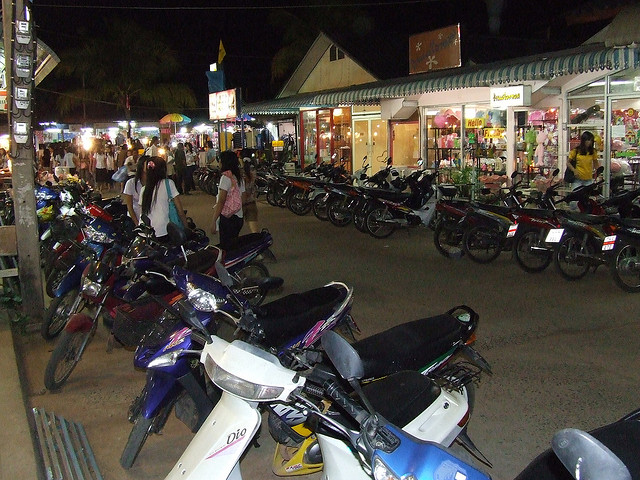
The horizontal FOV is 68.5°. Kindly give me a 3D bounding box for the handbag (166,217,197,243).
[{"bbox_3d":[-1.653,-0.125,5.616,0.311,0.335,0.219,30,-17,-31],"label":"handbag"}]

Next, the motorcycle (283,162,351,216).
[{"bbox_3d":[0.063,-1.639,15.756,2.158,1.666,1.218,-10,18,-15],"label":"motorcycle"}]

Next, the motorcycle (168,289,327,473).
[{"bbox_3d":[-0.444,0.792,2.428,0.993,0.658,0.624,9,14,39],"label":"motorcycle"}]

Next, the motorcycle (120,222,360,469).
[{"bbox_3d":[-0.595,0.780,4.030,2.300,1.723,1.085,-12,28,-36],"label":"motorcycle"}]

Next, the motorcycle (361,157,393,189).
[{"bbox_3d":[1.795,-1.973,13.790,1.154,0.917,0.809,-1,10,-1],"label":"motorcycle"}]

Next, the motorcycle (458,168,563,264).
[{"bbox_3d":[3.866,-0.455,9.080,2.113,1.860,1.415,0,-14,21],"label":"motorcycle"}]

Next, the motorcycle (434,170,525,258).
[{"bbox_3d":[3.408,-0.521,10.119,2.216,1.818,1.298,-7,8,-4],"label":"motorcycle"}]

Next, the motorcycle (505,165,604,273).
[{"bbox_3d":[4.680,-0.350,8.662,2.330,1.800,1.221,-20,17,-38],"label":"motorcycle"}]

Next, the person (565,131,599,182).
[{"bbox_3d":[6.555,-1.670,11.738,0.686,2.069,0.502,2,20,30],"label":"person"}]

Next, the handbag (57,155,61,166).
[{"bbox_3d":[-14.079,-4.366,25.446,0.154,0.519,0.866,-6,13,-27],"label":"handbag"}]

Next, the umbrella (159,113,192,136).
[{"bbox_3d":[-11.445,-9.191,37.585,1.584,1.223,1.694,-9,17,-23],"label":"umbrella"}]

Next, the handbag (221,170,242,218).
[{"bbox_3d":[-1.627,-0.855,8.607,0.359,0.858,0.227,-2,10,-10],"label":"handbag"}]

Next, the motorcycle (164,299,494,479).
[{"bbox_3d":[0.015,0.951,2.954,1.699,1.117,0.907,-7,19,-23],"label":"motorcycle"}]

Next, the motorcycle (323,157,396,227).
[{"bbox_3d":[1.104,-1.216,13.648,1.896,1.508,1.220,7,17,5],"label":"motorcycle"}]

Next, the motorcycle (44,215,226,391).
[{"bbox_3d":[-1.885,0.640,4.674,1.759,1.212,0.911,-23,35,-37],"label":"motorcycle"}]

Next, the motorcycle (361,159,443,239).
[{"bbox_3d":[2.297,-1.086,11.805,2.249,2.120,1.096,-2,2,6],"label":"motorcycle"}]
